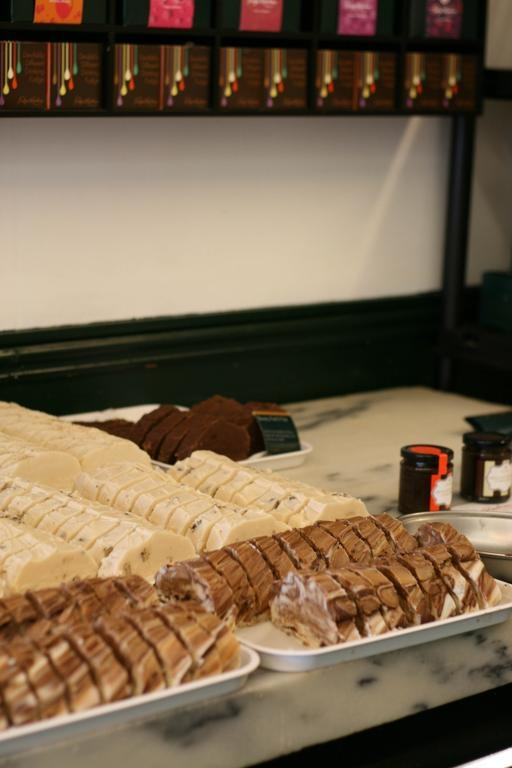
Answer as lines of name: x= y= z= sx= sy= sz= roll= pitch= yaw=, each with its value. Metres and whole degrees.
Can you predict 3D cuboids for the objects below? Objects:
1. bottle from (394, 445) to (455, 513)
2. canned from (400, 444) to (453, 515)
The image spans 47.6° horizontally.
bottle: x=0.387 y=0.217 z=1.429 sx=0.145 sy=0.171 sz=0.156 roll=2 pitch=9 yaw=9
canned: x=0.396 y=0.236 z=1.449 sx=0.147 sy=0.173 sz=0.158 roll=3 pitch=10 yaw=14
